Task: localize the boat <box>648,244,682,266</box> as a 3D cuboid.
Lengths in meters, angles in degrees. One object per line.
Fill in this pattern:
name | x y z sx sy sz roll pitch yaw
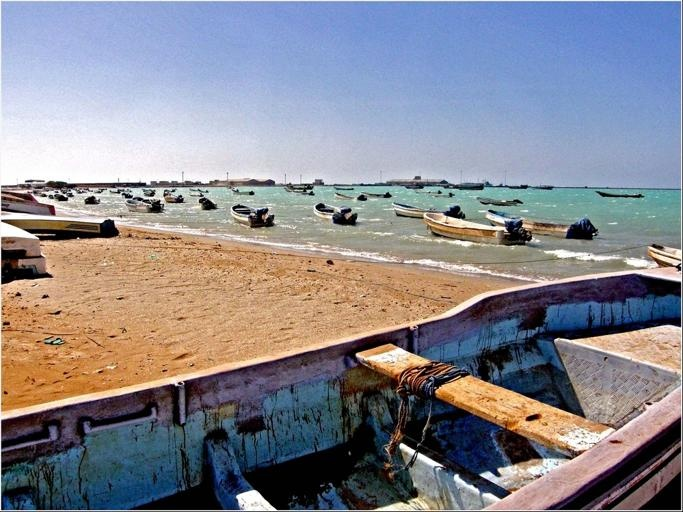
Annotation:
boat | 13.090 -0.031 17.131 1.020 0.452 1.534 -8 11 -13
